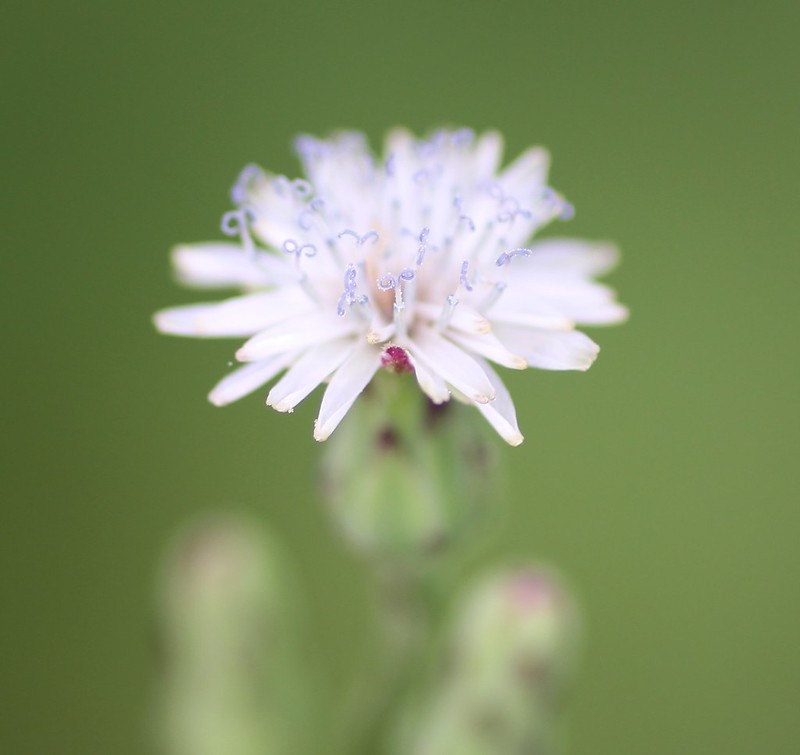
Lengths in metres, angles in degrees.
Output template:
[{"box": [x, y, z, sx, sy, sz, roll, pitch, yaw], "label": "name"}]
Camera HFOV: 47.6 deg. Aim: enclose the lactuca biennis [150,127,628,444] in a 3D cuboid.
[{"box": [-0.027, -0.130, 1.134, 0.407, 0.496, 0.187, 2, -28, -6], "label": "lactuca biennis"}]
